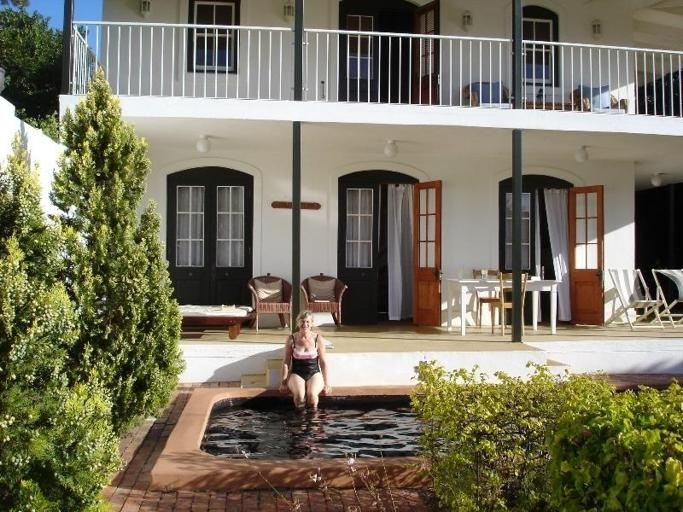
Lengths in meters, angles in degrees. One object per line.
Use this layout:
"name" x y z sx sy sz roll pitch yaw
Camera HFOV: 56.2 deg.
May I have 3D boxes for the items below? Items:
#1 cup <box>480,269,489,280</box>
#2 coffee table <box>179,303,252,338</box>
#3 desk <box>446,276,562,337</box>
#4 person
"cup" 2.559 0.337 11.497 0.104 0.248 0.117 0 -5 -10
"coffee table" -1.958 1.029 10.062 1.142 0.508 1.094 -1 -3 -10
"desk" 2.722 0.835 11.090 1.798 1.030 2.171 -2 -3 5
"person" -0.441 1.258 7.843 0.606 1.148 0.513 -1 -2 -5
